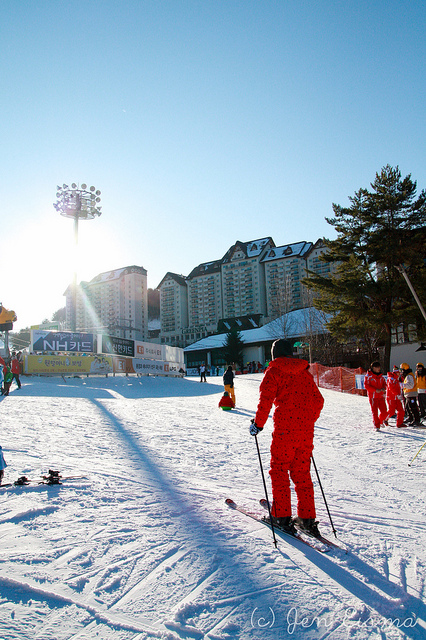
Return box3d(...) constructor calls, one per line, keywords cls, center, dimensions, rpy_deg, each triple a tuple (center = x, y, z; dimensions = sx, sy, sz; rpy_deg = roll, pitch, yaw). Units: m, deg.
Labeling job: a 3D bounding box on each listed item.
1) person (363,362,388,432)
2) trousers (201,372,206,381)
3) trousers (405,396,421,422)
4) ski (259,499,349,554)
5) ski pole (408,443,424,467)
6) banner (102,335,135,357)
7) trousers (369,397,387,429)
box3d(cls="person", center=(3.887, 1.795, 11.872), dimensions=(0.487, 1.570, 1.069), rpy_deg=(-5, -6, 18))
box3d(cls="trousers", center=(-0.674, 3.754, 33.414), dimensions=(0.241, 0.497, 0.477), rpy_deg=(-2, -6, -4))
box3d(cls="trousers", center=(4.838, 2.140, 12.069), dimensions=(0.240, 0.622, 0.580), rpy_deg=(-4, -6, 16))
box3d(cls="ski", center=(0.805, 1.759, 4.222), dimensions=(0.254, 0.228, 0.777), rpy_deg=(0, -1, -17))
box3d(cls="ski pole", center=(3.363, 2.246, 8.241), dimensions=(0.082, 0.450, 0.077), rpy_deg=(29, 22, -29))
box3d(cls="banner", center=(-6.225, 1.691, 32.907), dimensions=(0.297, 1.269, 3.993), rpy_deg=(-5, -6, 19))
box3d(cls="trousers", center=(3.894, 2.174, 11.747), dimensions=(0.272, 0.692, 0.667), rpy_deg=(-7, -7, 35))
